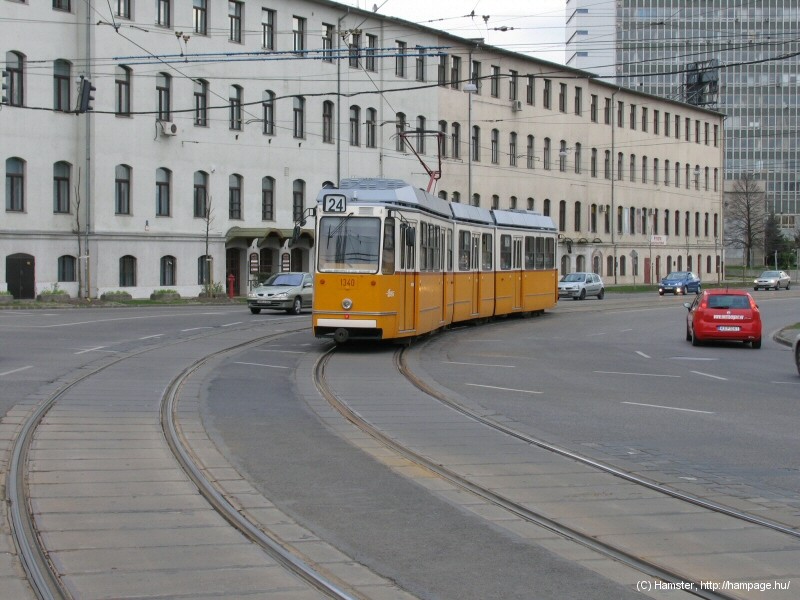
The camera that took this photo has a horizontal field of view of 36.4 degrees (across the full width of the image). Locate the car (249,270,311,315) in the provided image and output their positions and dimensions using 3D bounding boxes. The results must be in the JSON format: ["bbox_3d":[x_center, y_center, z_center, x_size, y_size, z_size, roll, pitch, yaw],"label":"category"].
[{"bbox_3d":[-3.935,-0.376,42.987,1.267,0.853,2.160,-2,-3,20],"label":"car"}]

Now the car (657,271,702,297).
[{"bbox_3d":[16.416,-1.025,70.761,1.302,0.912,2.836,-2,-4,31],"label":"car"}]

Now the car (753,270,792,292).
[{"bbox_3d":[24.902,-1.461,81.349,1.373,0.952,2.980,-3,-4,35],"label":"car"}]

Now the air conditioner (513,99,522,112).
[{"bbox_3d":[7.439,-12.337,77.110,0.485,0.738,1.277,2,4,8],"label":"air conditioner"}]

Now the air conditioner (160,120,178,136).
[{"bbox_3d":[-10.528,-7.808,55.302,0.490,0.705,1.060,3,4,17],"label":"air conditioner"}]

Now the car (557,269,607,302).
[{"bbox_3d":[9.659,-0.861,64.145,1.347,0.922,2.232,-2,-4,35],"label":"car"}]

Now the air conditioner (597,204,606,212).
[{"bbox_3d":[14.528,-6.633,87.431,0.424,0.704,0.791,4,3,31],"label":"air conditioner"}]
